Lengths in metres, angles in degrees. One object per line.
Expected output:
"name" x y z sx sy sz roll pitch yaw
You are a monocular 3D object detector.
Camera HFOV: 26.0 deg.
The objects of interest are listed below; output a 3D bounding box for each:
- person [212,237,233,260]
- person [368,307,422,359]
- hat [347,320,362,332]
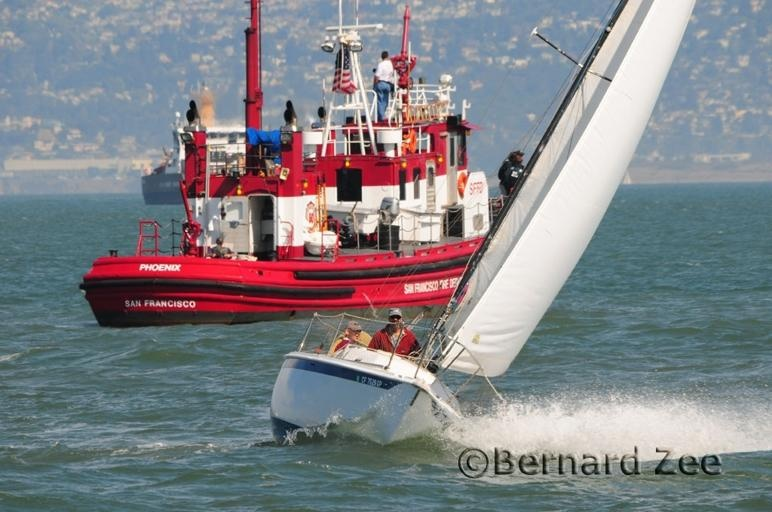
"person" -6.087 -0.230 61.777 0.701 0.836 0.403 15 -19 -32
"person" 0.302 2.365 49.745 1.589 1.141 0.780 4 9 7
"hat" -0.967 2.104 49.941 0.305 0.171 0.381 8 -2 -22
